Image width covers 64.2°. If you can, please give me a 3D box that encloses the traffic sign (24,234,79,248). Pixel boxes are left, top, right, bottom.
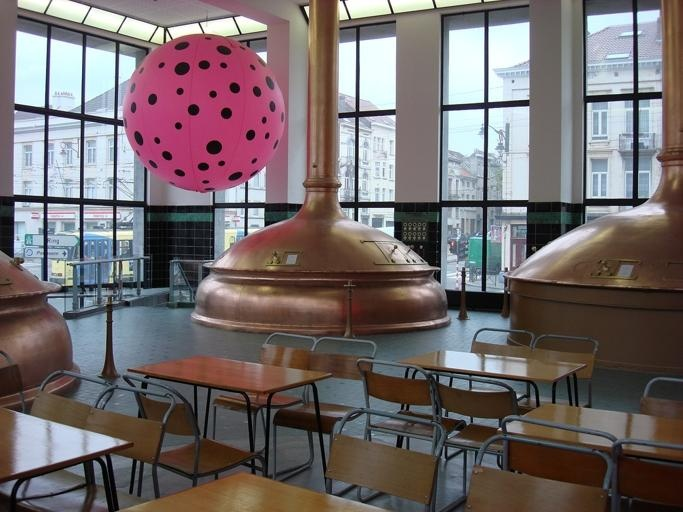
[{"bbox_3d":[-7.711,-0.392,14.531,0.258,0.366,1.301,2,4,36],"label":"traffic sign"}]

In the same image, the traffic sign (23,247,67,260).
[{"bbox_3d":[-7.810,-0.090,14.453,0.213,0.345,1.096,2,4,37],"label":"traffic sign"}]
